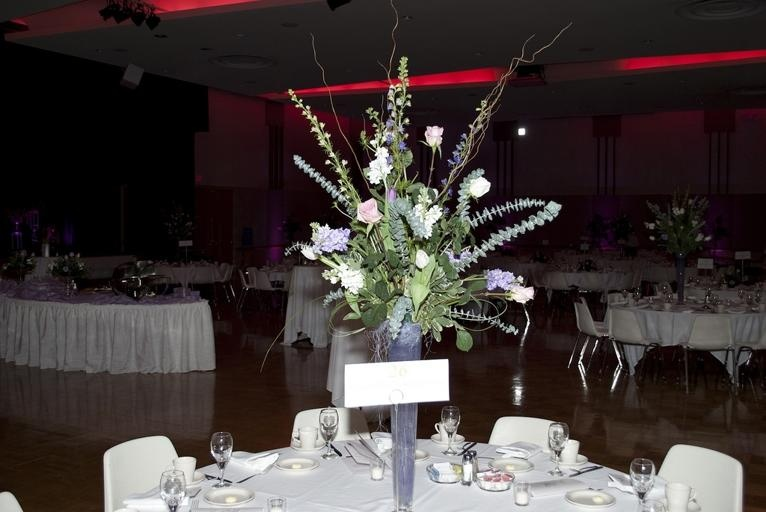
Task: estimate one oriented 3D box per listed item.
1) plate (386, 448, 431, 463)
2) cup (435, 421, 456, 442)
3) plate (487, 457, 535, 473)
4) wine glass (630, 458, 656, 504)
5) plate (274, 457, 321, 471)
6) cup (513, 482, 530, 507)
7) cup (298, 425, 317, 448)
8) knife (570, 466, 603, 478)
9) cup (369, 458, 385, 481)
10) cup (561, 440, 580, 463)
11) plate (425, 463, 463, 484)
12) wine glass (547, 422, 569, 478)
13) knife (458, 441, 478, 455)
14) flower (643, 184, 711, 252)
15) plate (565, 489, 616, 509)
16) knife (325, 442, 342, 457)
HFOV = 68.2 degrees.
[{"bbox_3d":[0.123,1.080,3.081,0.264,0.034,0.126,-1,5,-12],"label":"plate"},{"bbox_3d":[0.369,1.020,3.314,0.112,0.129,0.177,3,-7,-20],"label":"cup"},{"bbox_3d":[0.681,1.112,3.019,0.226,0.024,0.166,-1,5,-16],"label":"plate"},{"bbox_3d":[1.216,1.057,2.665,0.100,0.224,0.241,3,7,25],"label":"wine glass"},{"bbox_3d":[-0.456,1.105,3.012,0.226,0.022,0.143,0,5,-6],"label":"plate"},{"bbox_3d":[0.652,1.121,2.670,0.089,0.105,0.092,0,-7,0],"label":"cup"},{"bbox_3d":[-0.422,1.013,3.158,0.088,0.089,0.114,-2,-8,2],"label":"cup"},{"bbox_3d":[1.068,1.123,2.970,0.235,0.020,0.061,-6,11,-41],"label":"knife"},{"bbox_3d":[-0.032,1.090,2.893,0.081,0.095,0.080,0,-7,0],"label":"cup"},{"bbox_3d":[1.027,1.058,3.089,0.084,0.126,0.134,0,-7,2],"label":"cup"},{"bbox_3d":[0.316,1.094,2.876,0.102,0.041,0.103,2,-6,-18],"label":"plate"},{"bbox_3d":[0.927,1.000,3.016,0.097,0.248,0.215,2,6,17],"label":"wine glass"},{"bbox_3d":[0.471,1.054,3.145,0.036,0.030,0.268,9,-3,17],"label":"knife"},{"bbox_3d":[3.835,-0.435,7.403,0.634,0.857,0.914,3,7,25],"label":"flower"},{"bbox_3d":[0.991,1.164,2.717,0.224,0.025,0.145,-1,5,-13],"label":"plate"},{"bbox_3d":[-0.273,1.075,3.143,0.055,0.060,0.062,1,-16,-9],"label":"knife"}]
